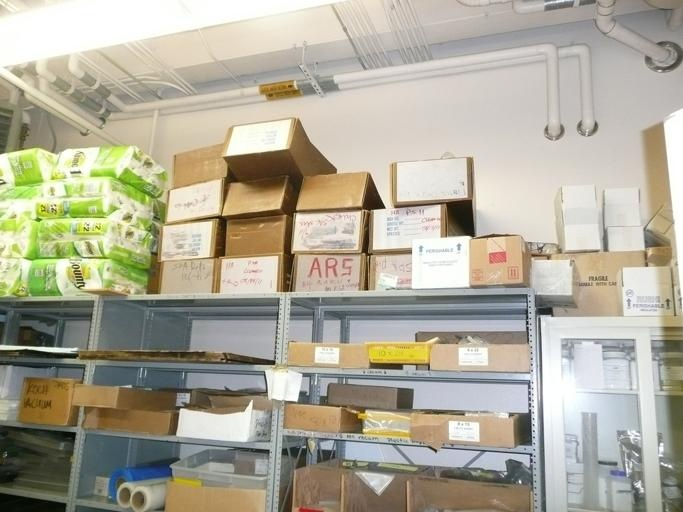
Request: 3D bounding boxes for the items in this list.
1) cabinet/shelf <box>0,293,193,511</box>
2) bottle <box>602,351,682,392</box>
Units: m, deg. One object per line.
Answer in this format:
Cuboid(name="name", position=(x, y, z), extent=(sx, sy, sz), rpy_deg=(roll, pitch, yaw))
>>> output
Cuboid(name="cabinet/shelf", position=(-1.335, 0.843, 2.725), extent=(1.439, 1.156, 0.457), rpy_deg=(-1, -16, 2))
Cuboid(name="bottle", position=(1.410, 0.517, 2.308), extent=(0.379, 0.177, 0.227), rpy_deg=(-1, -4, 21))
